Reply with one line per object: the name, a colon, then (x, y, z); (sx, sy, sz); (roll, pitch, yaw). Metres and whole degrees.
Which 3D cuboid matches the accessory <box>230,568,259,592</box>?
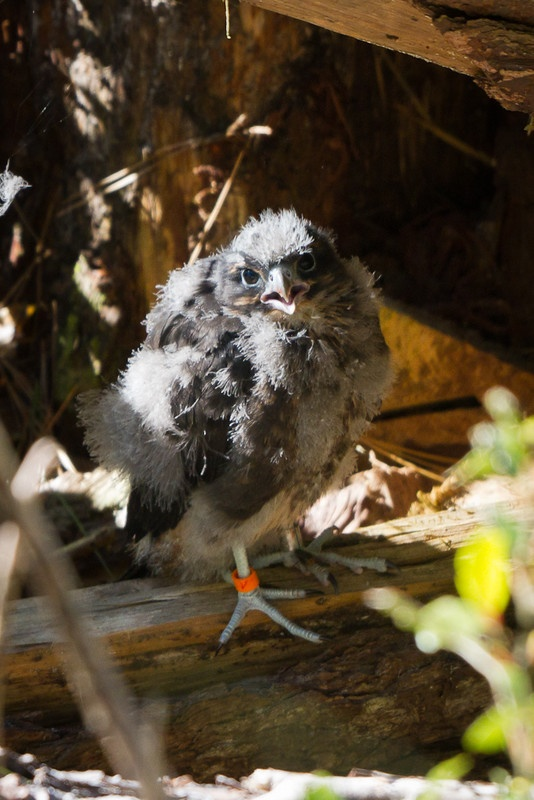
accessory: (-0.053, 0.469, 2.273); (0.065, 0.040, 0.060); (-4, 17, -5)
